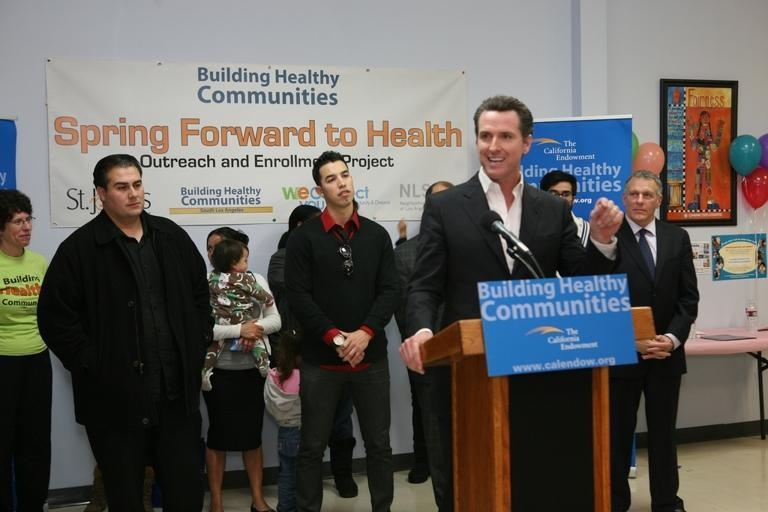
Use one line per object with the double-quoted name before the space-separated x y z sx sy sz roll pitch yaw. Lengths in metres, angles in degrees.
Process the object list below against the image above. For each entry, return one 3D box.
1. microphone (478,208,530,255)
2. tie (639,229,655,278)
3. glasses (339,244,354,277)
"microphone" 0.634 -0.124 3.974 0.125 0.117 0.380 12 25 -40
"tie" 1.937 -0.020 5.506 0.091 0.394 0.074 -12 -24 8
"glasses" -0.271 0.033 5.304 0.119 0.194 0.056 -12 -2 -29
